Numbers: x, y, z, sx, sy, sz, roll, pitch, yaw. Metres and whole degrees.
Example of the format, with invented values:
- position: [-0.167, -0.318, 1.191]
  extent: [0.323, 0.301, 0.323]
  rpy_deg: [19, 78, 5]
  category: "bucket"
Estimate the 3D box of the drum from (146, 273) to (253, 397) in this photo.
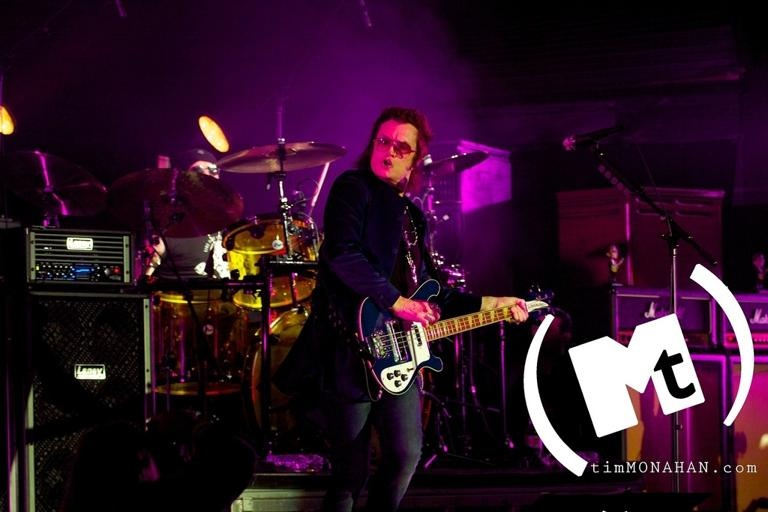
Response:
- position: [-1.476, 0.752, 6.685]
  extent: [1.126, 1.131, 1.134]
  rpy_deg: [1, 1, -14]
  category: "drum"

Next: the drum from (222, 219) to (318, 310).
- position: [-0.989, 0.009, 6.606]
  extent: [0.867, 0.543, 0.819]
  rpy_deg: [-14, -35, -10]
  category: "drum"

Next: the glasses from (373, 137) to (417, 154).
- position: [0.068, -0.697, 4.731]
  extent: [0.147, 0.044, 0.145]
  rpy_deg: [16, -8, -3]
  category: "glasses"

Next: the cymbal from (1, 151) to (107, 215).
- position: [-3.021, -0.664, 6.861]
  extent: [0.854, 0.491, 0.578]
  rpy_deg: [4, -6, -20]
  category: "cymbal"
